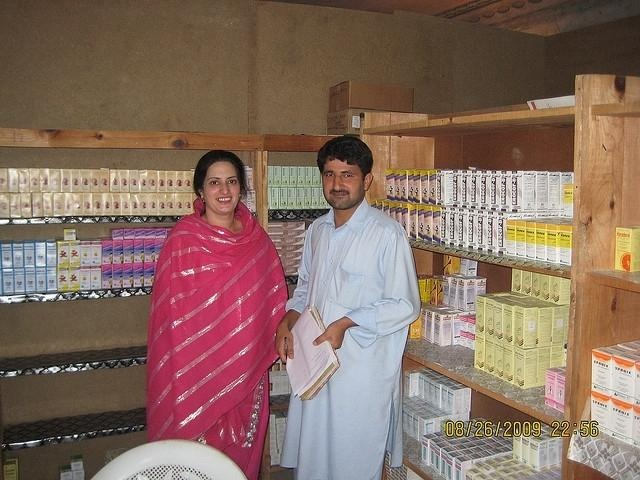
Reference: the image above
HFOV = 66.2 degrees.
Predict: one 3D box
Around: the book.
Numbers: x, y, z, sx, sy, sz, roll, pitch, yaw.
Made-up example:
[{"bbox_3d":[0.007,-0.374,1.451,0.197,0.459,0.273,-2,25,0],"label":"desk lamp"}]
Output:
[{"bbox_3d":[-0.055,0.573,2.490,0.195,0.426,0.464,-3,4,-12],"label":"book"}]
